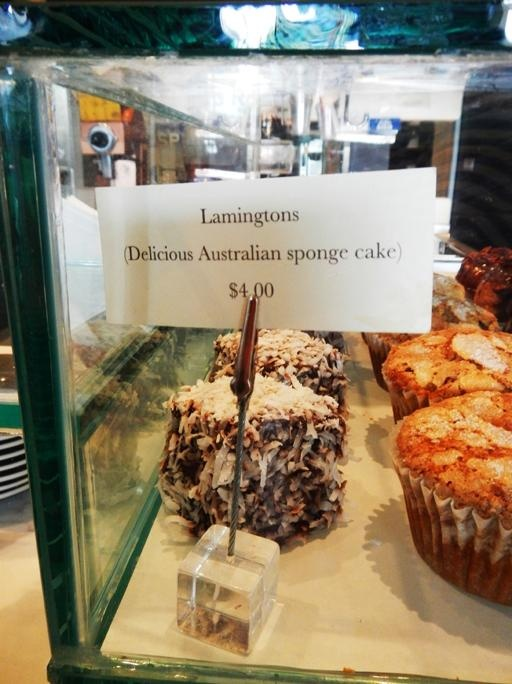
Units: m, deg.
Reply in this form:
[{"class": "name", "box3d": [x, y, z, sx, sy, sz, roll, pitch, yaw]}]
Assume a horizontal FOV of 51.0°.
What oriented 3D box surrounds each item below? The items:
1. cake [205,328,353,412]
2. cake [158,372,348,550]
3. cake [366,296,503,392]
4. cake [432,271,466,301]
[{"class": "cake", "box3d": [0.031, 0.041, 0.759, 0.133, 0.062, 0.174, 0, 5, 0]}, {"class": "cake", "box3d": [0.000, 0.116, 0.677, 0.231, 0.162, 0.223, 5, 9, -1]}, {"class": "cake", "box3d": [0.262, -0.008, 0.866, 0.159, 0.108, 0.151, 1, 15, 22]}, {"class": "cake", "box3d": [0.247, -0.072, 0.702, 0.049, 0.016, 0.046, 2, -12, 5]}]
